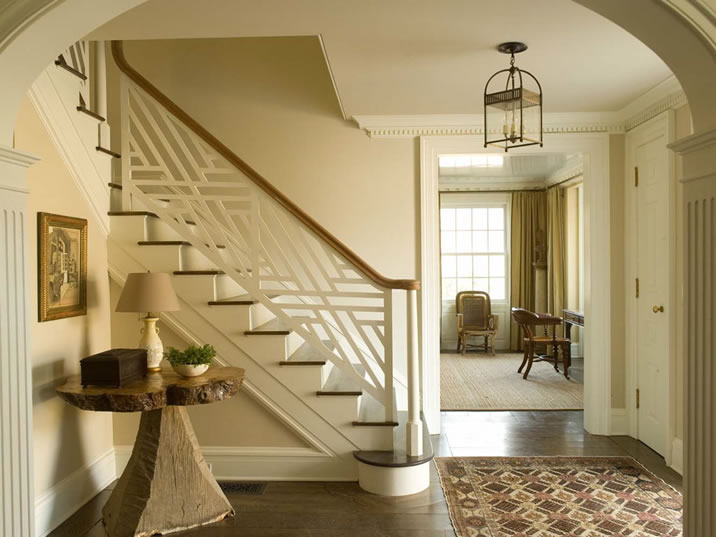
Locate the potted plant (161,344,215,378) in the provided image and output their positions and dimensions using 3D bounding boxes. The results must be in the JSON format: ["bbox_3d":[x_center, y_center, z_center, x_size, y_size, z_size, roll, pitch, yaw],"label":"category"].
[{"bbox_3d":[-1.139,0.638,4.377,0.274,0.174,0.255,1,-3,3],"label":"potted plant"}]

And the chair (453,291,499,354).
[{"bbox_3d":[1.830,0.869,9.543,0.784,0.919,0.725,3,-3,-42],"label":"chair"}]

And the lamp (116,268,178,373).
[{"bbox_3d":[-1.521,0.387,4.508,0.408,0.710,0.513,-2,6,-19],"label":"lamp"}]

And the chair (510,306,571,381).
[{"bbox_3d":[2.428,0.986,8.129,0.771,0.879,0.788,-3,-5,31],"label":"chair"}]

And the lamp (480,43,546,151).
[{"bbox_3d":[1.086,-1.180,4.326,0.421,0.691,0.407,-6,11,-20],"label":"lamp"}]

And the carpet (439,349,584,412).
[{"bbox_3d":[1.871,1.436,7.765,1.639,0.166,2.864,0,5,7],"label":"carpet"}]
